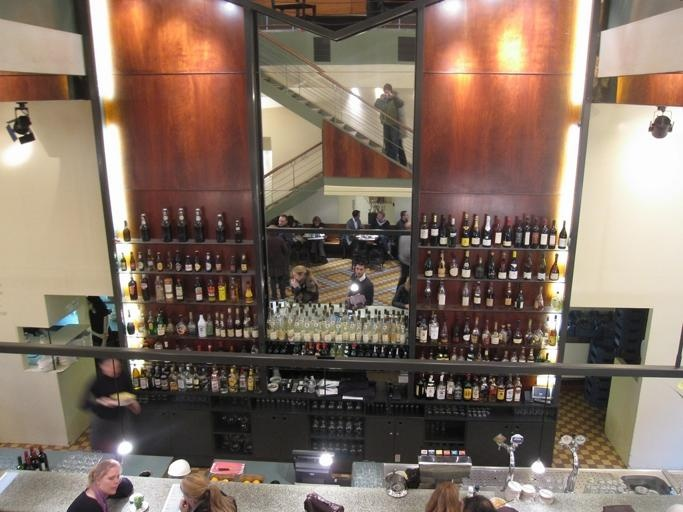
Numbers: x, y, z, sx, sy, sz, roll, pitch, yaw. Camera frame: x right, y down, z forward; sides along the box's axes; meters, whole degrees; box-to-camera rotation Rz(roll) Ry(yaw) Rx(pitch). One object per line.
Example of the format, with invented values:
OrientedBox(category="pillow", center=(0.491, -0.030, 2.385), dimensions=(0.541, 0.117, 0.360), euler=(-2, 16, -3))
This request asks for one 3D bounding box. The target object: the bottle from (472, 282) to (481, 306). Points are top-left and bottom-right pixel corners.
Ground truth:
OrientedBox(category="bottle", center=(1.596, 0.446, 7.013), dimensions=(0.086, 0.278, 0.052), euler=(1, 8, 8))

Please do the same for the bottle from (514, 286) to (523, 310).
OrientedBox(category="bottle", center=(2.062, 0.497, 6.955), dimensions=(0.092, 0.237, 0.101), euler=(0, 8, 0))

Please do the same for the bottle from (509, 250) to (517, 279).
OrientedBox(category="bottle", center=(1.994, 0.107, 6.903), dimensions=(0.115, 0.326, 0.095), euler=(-1, 8, 0))

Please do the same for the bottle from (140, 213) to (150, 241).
OrientedBox(category="bottle", center=(-2.341, -0.335, 7.070), dimensions=(0.113, 0.322, 0.148), euler=(-2, 8, -13))

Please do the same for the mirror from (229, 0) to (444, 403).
OrientedBox(category="mirror", center=(0.217, -1.126, 10.275), dimensions=(3.684, 7.265, 3.226), euler=(1, 11, 1))

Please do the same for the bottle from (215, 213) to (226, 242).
OrientedBox(category="bottle", center=(-1.420, -0.324, 7.022), dimensions=(0.109, 0.338, 0.107), euler=(0, 8, 0))

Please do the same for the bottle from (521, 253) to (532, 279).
OrientedBox(category="bottle", center=(2.150, 0.133, 6.899), dimensions=(0.116, 0.270, 0.125), euler=(0, 8, 0))

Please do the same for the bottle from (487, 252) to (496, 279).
OrientedBox(category="bottle", center=(1.757, 0.114, 6.958), dimensions=(0.123, 0.317, 0.072), euler=(-2, 8, -10))

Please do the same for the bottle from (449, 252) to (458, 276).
OrientedBox(category="bottle", center=(1.329, 0.118, 6.992), dimensions=(0.122, 0.241, 0.088), euler=(-1, 8, -4))

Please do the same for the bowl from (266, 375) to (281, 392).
OrientedBox(category="bowl", center=(-0.829, 1.558, 7.319), dimensions=(0.120, 0.071, 0.161), euler=(2, 24, 1))

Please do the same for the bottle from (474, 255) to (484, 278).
OrientedBox(category="bottle", center=(1.610, 0.127, 6.948), dimensions=(0.097, 0.257, 0.077), euler=(0, 8, 4))

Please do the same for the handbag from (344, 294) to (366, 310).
OrientedBox(category="handbag", center=(0.169, 0.524, 7.236), dimensions=(0.238, 0.175, 0.236), euler=(-5, 18, 5))

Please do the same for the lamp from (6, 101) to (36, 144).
OrientedBox(category="lamp", center=(-3.577, -1.498, 6.654), dimensions=(0.362, 0.509, 0.285), euler=(17, 19, 37))

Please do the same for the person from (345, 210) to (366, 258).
OrientedBox(category="person", center=(0.163, -0.281, 6.938), dimensions=(0.283, 0.738, 0.261), euler=(5, 24, 14))

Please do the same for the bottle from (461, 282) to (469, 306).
OrientedBox(category="bottle", center=(1.475, 0.447, 7.030), dimensions=(0.109, 0.277, 0.086), euler=(-2, 8, -9))

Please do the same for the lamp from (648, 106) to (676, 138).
OrientedBox(category="lamp", center=(3.422, -1.440, 6.390), dimensions=(0.296, 0.302, 0.229), euler=(-30, 36, -35))

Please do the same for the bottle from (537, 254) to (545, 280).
OrientedBox(category="bottle", center=(2.312, 0.136, 6.893), dimensions=(0.088, 0.276, 0.120), euler=(2, 9, 19))

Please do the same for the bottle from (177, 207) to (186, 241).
OrientedBox(category="bottle", center=(-1.881, -0.366, 7.031), dimensions=(0.109, 0.394, 0.103), euler=(0, 8, 0))

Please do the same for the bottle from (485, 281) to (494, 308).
OrientedBox(category="bottle", center=(1.744, 0.450, 7.013), dimensions=(0.092, 0.290, 0.122), euler=(4, 9, 27))

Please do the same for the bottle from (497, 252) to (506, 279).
OrientedBox(category="bottle", center=(1.873, 0.121, 6.937), dimensions=(0.102, 0.307, 0.066), euler=(2, 9, 16))

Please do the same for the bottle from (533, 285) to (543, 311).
OrientedBox(category="bottle", center=(2.310, 0.490, 6.970), dimensions=(0.108, 0.258, 0.087), euler=(2, 9, 14))

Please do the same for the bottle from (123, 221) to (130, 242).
OrientedBox(category="bottle", center=(-2.541, -0.287, 7.063), dimensions=(0.087, 0.229, 0.135), euler=(-3, 8, -19))

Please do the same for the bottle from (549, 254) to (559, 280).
OrientedBox(category="bottle", center=(2.450, 0.125, 6.869), dimensions=(0.096, 0.304, 0.091), euler=(0, 8, 0))

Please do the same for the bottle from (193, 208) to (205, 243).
OrientedBox(category="bottle", center=(-1.677, -0.364, 7.019), dimensions=(0.133, 0.396, 0.138), euler=(0, 8, 0))

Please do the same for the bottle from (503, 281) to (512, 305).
OrientedBox(category="bottle", center=(1.945, 0.443, 6.970), dimensions=(0.087, 0.278, 0.075), euler=(2, 9, 15))

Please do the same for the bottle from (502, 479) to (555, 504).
OrientedBox(category="bottle", center=(1.589, 1.980, 5.038), dimensions=(0.397, 0.135, 0.176), euler=(1, 7, 13))

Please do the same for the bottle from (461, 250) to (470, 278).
OrientedBox(category="bottle", center=(1.461, 0.091, 6.966), dimensions=(0.111, 0.315, 0.098), euler=(1, 8, 7))

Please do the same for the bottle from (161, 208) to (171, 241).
OrientedBox(category="bottle", center=(-2.077, -0.363, 7.044), dimensions=(0.121, 0.387, 0.118), euler=(0, 8, 0))
